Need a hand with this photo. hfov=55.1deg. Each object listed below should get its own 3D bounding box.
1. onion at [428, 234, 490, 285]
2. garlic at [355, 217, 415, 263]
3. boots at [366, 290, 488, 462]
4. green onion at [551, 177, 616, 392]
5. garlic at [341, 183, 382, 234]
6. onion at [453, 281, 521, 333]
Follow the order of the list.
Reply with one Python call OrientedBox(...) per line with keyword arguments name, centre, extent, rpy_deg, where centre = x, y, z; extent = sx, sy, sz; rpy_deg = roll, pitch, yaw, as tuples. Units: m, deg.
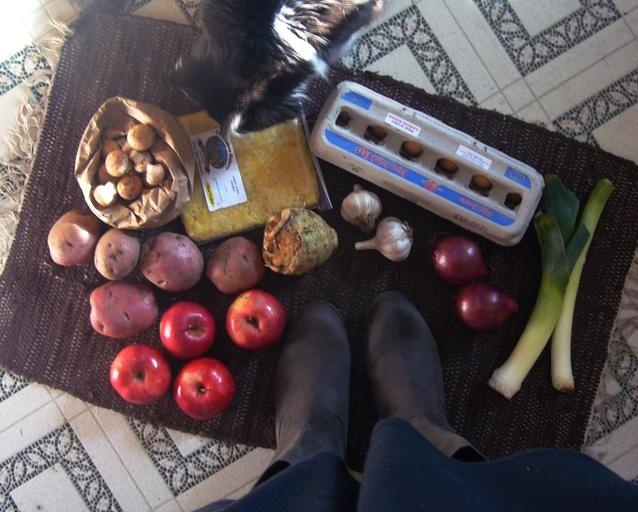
OrientedBox(name="onion", centre=(0.387, 0.007, 1.768), extent=(0.134, 0.127, 0.178), rpy_deg=(-7, 48, -9))
OrientedBox(name="garlic", centre=(0.188, -0.058, 1.749), extent=(0.156, 0.061, 0.116), rpy_deg=(16, 87, 6))
OrientedBox(name="boots", centre=(0.267, 0.314, 1.618), extent=(0.157, 0.219, 0.580), rpy_deg=(-16, 82, 9))
OrientedBox(name="green onion", centre=(0.731, 0.120, 1.755), extent=(0.080, 0.132, 0.783), rpy_deg=(6, 95, -7))
OrientedBox(name="garlic", centre=(0.120, -0.133, 1.733), extent=(0.092, 0.076, 0.139), rpy_deg=(-14, 89, 10))
OrientedBox(name="onion", centre=(0.469, 0.140, 1.717), extent=(0.133, 0.113, 0.128), rpy_deg=(0, 64, 9))
